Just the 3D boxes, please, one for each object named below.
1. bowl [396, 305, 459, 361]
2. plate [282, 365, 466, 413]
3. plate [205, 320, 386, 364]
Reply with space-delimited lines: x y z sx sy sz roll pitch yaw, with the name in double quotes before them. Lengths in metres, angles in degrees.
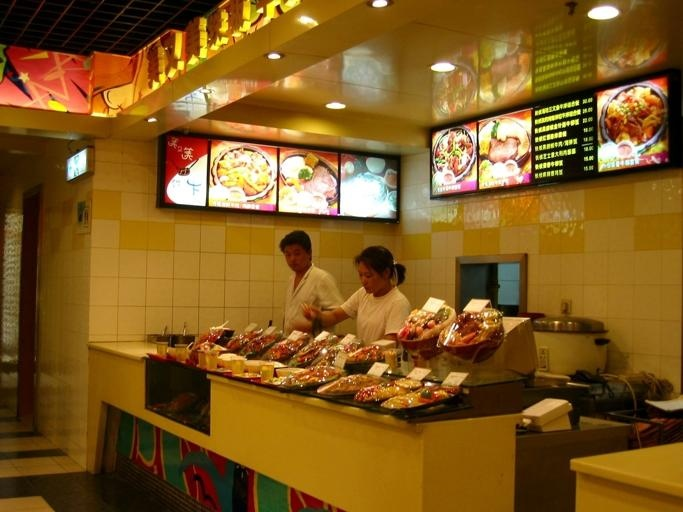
"bowl" 0.460 0.385 3.084 0.219 0.310 0.246 2 0 -39
"plate" 0.200 0.598 2.630 0.352 0.146 0.697 2 -2 -40
"plate" -0.470 0.579 3.765 0.656 0.127 0.417 3 2 24
